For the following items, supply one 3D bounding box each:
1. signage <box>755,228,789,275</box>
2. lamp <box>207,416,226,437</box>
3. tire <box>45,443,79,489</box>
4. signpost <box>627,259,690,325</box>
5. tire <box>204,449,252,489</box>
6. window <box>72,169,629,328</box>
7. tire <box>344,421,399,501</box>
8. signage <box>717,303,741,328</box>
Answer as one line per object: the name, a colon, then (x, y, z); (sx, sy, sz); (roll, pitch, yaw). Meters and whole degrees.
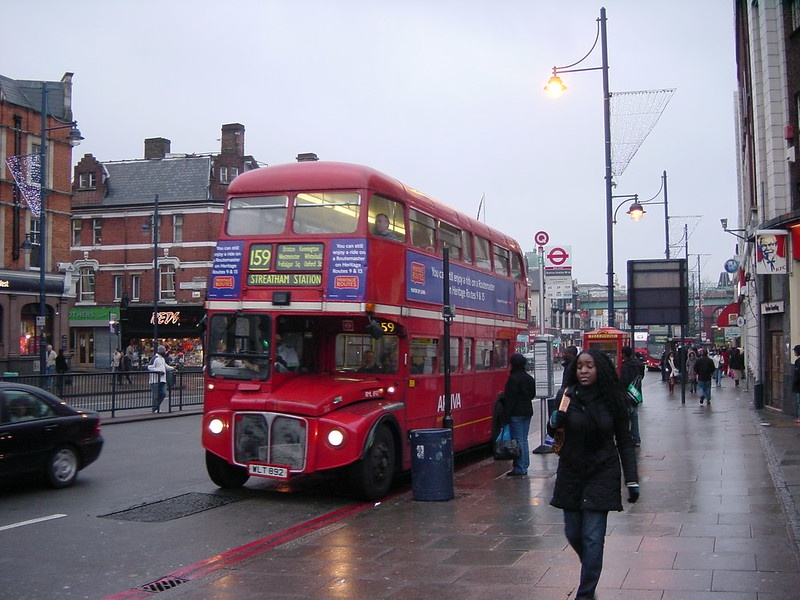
signage: (10.274, -1.362, 23.743); (1.173, 1.745, 0.294); (1, -8, 8)
lamp: (-3.010, 2.060, 14.080); (0.257, 0.269, 0.064); (0, -4, 13)
tire: (-5.818, 2.832, 14.764); (0.264, 0.780, 0.773); (-3, -6, 22)
signpost: (7.955, -0.281, 26.573); (1.934, 2.287, 0.362); (-1, 3, 8)
tire: (-2.865, 2.820, 14.438); (0.293, 0.831, 0.822); (-3, 0, 27)
window: (-0.210, -0.974, 16.731); (2.572, 3.104, 10.297); (-1, -5, 37)
tire: (-0.403, 2.631, 14.095); (0.373, 1.248, 1.317); (-3, -4, 27)
signage: (18.317, 0.862, 48.055); (1.071, 1.614, 2.184); (0, -2, 17)
